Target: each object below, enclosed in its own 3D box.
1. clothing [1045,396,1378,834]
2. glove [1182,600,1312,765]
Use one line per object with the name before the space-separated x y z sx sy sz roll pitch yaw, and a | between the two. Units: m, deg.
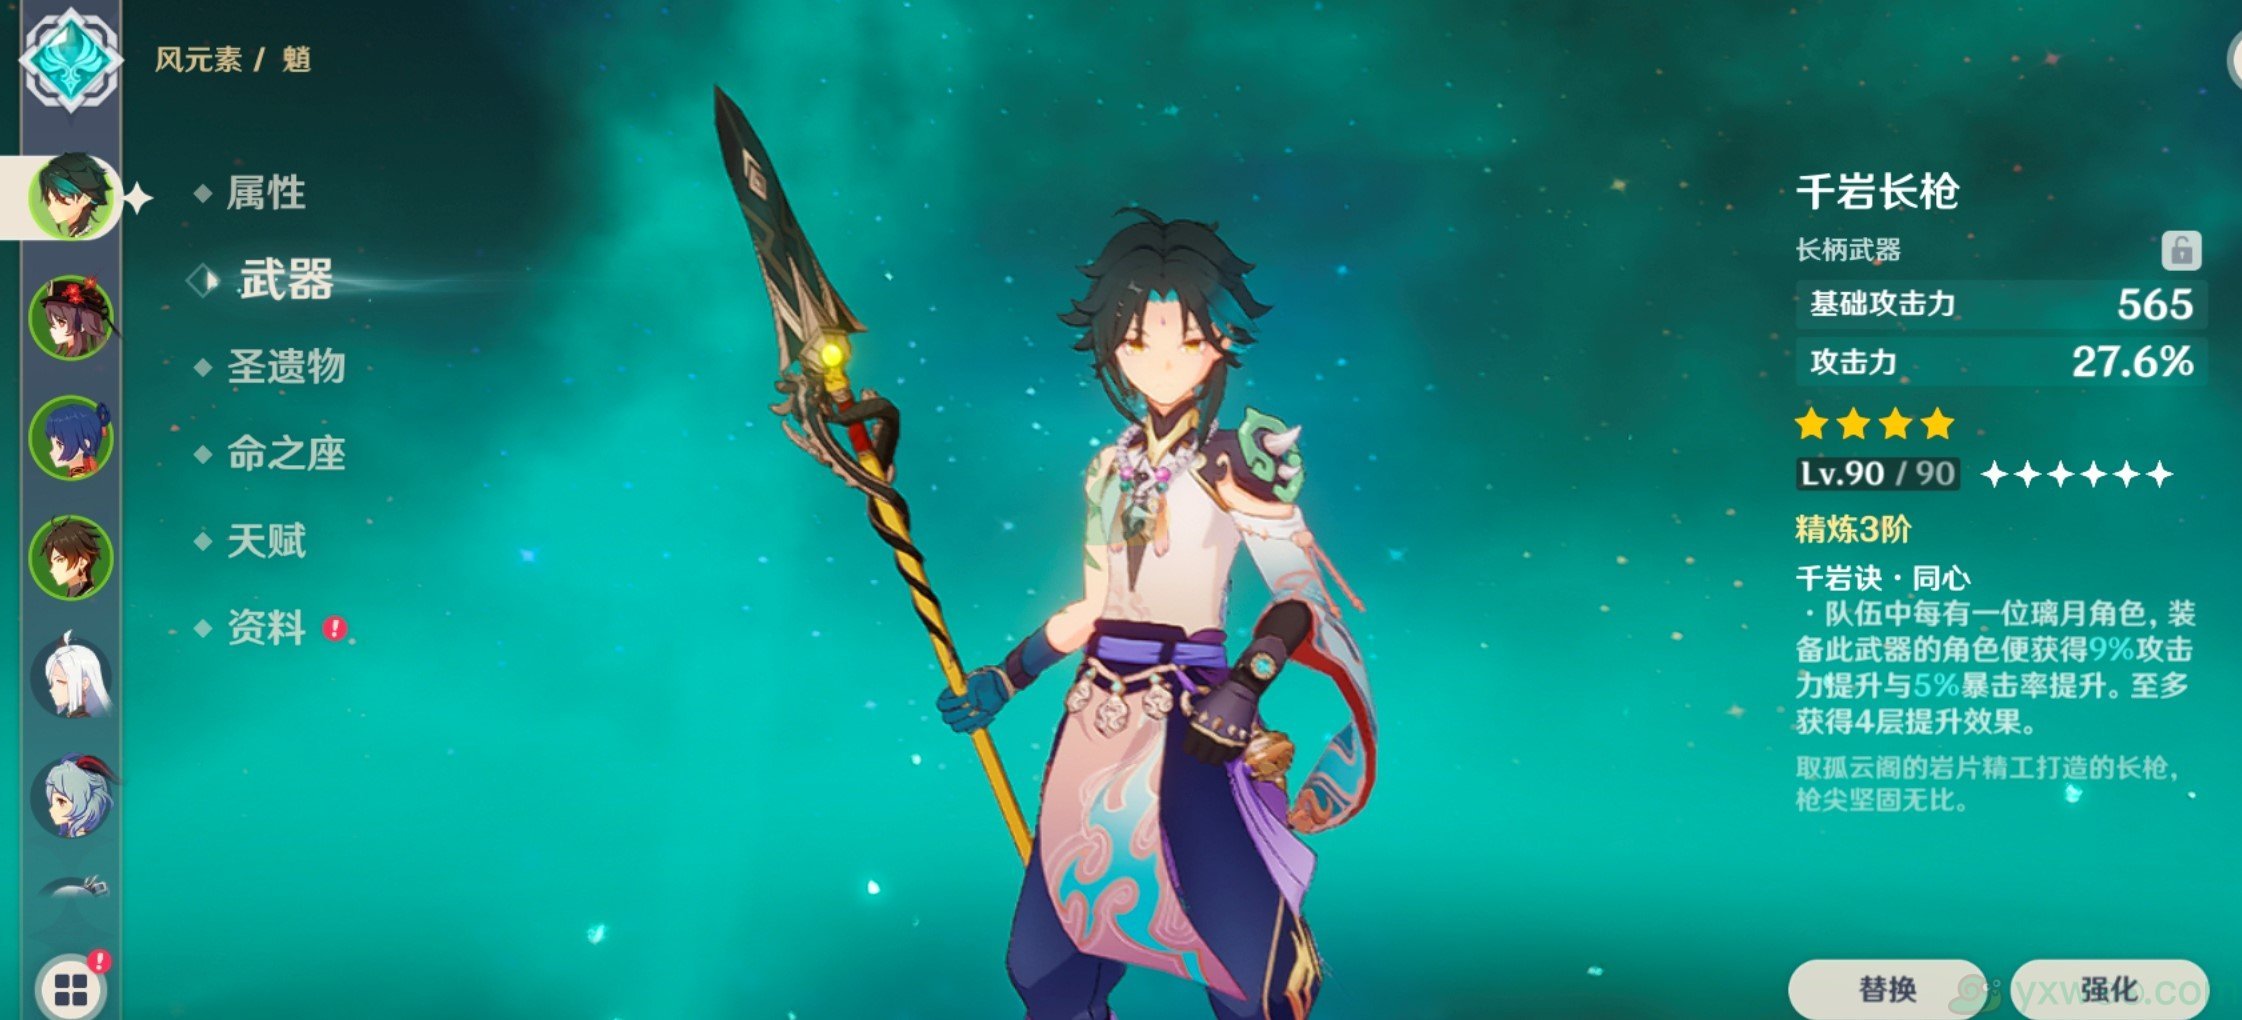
clothing | 0.752 0.552 11.577 1.475 1.953 0.596 -19 2 -17
glove | 0.592 0.805 11.412 0.438 0.831 0.449 35 -16 14
